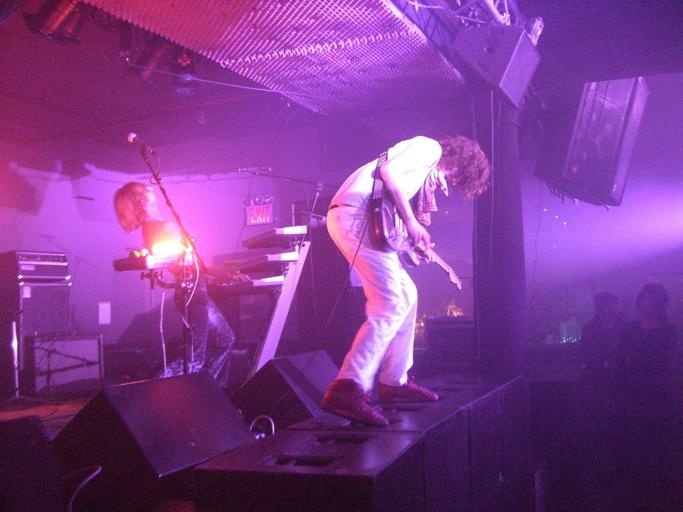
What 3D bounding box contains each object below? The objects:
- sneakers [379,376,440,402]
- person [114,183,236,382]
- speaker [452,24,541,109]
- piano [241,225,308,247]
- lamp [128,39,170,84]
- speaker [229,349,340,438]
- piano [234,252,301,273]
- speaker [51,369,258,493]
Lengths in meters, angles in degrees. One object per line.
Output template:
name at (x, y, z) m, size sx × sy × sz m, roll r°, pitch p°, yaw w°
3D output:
sneakers at (0.466, 0.947, 4.027) m, size 0.444 × 0.235 × 0.163 m, roll -2°, pitch -13°, yaw 9°
person at (-1.566, 0.269, 5.399) m, size 1.099 × 1.943 × 1.029 m, roll 1°, pitch 1°, yaw -12°
speaker at (1.297, -1.626, 4.847) m, size 0.687 × 0.535 × 0.240 m, roll 35°, pitch 4°, yaw 5°
piano at (-0.664, -0.188, 5.887) m, size 0.726 × 0.243 × 0.226 m, roll 3°, pitch 2°, yaw 36°
lamp at (-2.081, -2.111, 6.124) m, size 0.376 × 0.320 × 0.556 m, roll 1°, pitch 2°, yaw -32°
speaker at (-0.405, 1.011, 4.236) m, size 0.494 × 0.333 × 0.532 m, roll -5°, pitch -6°, yaw 14°
piano at (-0.796, 0.075, 5.940) m, size 0.244 × 0.253 × 0.872 m, roll 1°, pitch 2°, yaw -42°
speaker at (-1.209, 1.025, 3.747) m, size 0.912 × 0.494 × 0.966 m, roll 10°, pitch 3°, yaw 21°
